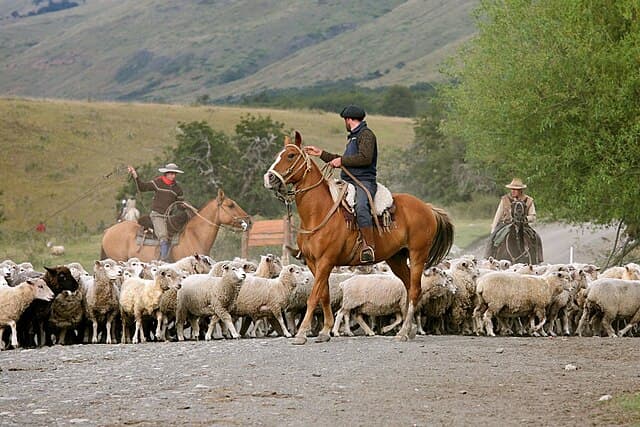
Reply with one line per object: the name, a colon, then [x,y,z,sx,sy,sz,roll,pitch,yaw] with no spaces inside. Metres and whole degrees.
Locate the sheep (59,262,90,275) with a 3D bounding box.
sheep: [-9.996,2.209,46.738,1.183,0.607,0.557,8,-14,-7]

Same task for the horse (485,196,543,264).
horse: [8.599,0.966,50.716,1.467,3.843,2.408,2,4,15]
